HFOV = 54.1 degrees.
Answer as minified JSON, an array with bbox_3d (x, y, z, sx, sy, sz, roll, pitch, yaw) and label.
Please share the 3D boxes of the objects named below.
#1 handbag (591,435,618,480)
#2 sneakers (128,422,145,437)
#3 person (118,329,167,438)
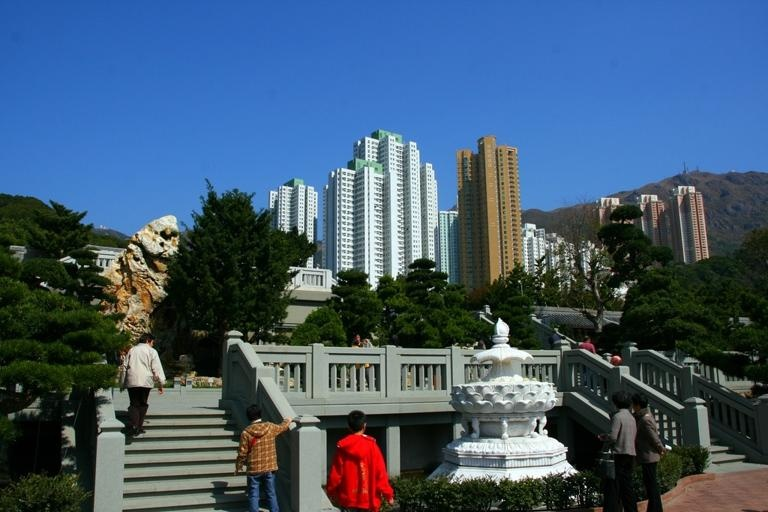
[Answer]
[{"bbox_3d":[4.837,4.333,16.404,0.383,0.960,0.276,-5,-6,17],"label":"handbag"},{"bbox_3d":[-6.110,4.242,18.503,0.240,0.203,0.581,14,-28,-13],"label":"sneakers"},{"bbox_3d":[-6.162,3.195,19.234,1.023,2.456,1.443,-1,-6,-18],"label":"person"}]
